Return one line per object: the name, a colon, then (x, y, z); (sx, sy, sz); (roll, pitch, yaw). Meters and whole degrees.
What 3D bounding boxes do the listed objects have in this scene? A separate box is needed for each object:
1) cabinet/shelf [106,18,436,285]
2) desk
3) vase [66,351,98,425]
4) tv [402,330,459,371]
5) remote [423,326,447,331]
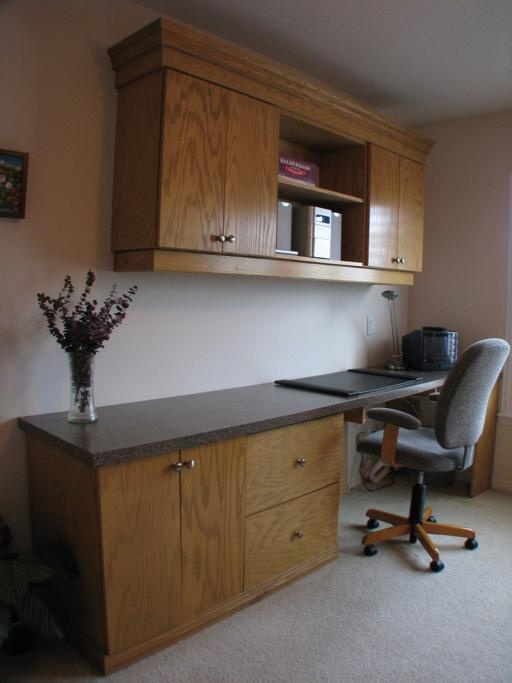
cabinet/shelf: (0.196, -0.647, 2.390); (1.637, 0.811, 0.356); (-3, 8, -44)
desk: (-0.201, 0.577, 1.941); (1.077, 0.685, 0.461); (-2, 6, -44)
vase: (-0.558, 0.142, 1.743); (0.084, 0.228, 0.141); (1, 4, -19)
tv: (1.056, 0.043, 3.298); (0.357, 0.262, 0.348); (1, 1, -44)
remote: (1.069, -0.078, 3.249); (0.085, 0.033, 0.087); (4, 8, 30)
